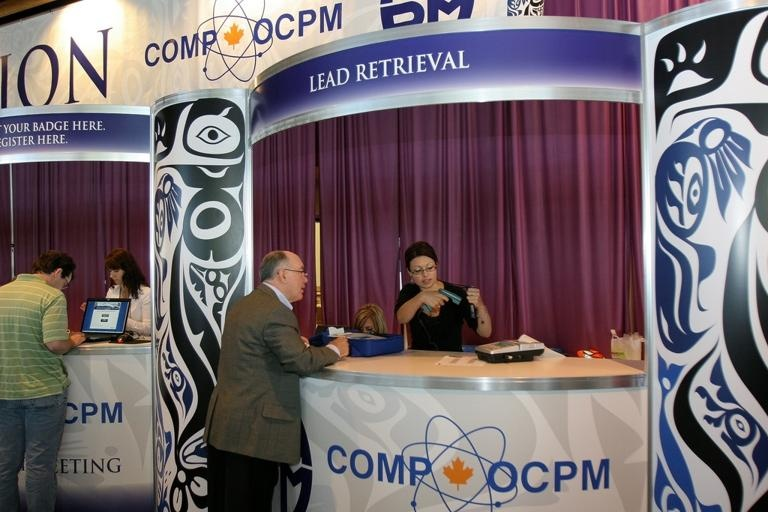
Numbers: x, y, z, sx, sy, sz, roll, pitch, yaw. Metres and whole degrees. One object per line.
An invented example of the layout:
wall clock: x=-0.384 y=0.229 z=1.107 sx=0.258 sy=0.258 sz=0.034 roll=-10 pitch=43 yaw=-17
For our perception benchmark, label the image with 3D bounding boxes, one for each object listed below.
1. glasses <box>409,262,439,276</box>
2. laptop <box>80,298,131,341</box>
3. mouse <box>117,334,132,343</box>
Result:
glasses: x=0.249 y=0.088 z=4.150 sx=0.167 sy=0.078 sz=0.087 roll=0 pitch=-6 yaw=2
laptop: x=-2.002 y=0.443 z=4.587 sx=0.310 sy=0.257 sz=0.286 roll=1 pitch=-1 yaw=0
mouse: x=-1.861 y=0.588 z=4.571 sx=0.059 sy=0.037 sz=0.102 roll=3 pitch=0 yaw=-36
